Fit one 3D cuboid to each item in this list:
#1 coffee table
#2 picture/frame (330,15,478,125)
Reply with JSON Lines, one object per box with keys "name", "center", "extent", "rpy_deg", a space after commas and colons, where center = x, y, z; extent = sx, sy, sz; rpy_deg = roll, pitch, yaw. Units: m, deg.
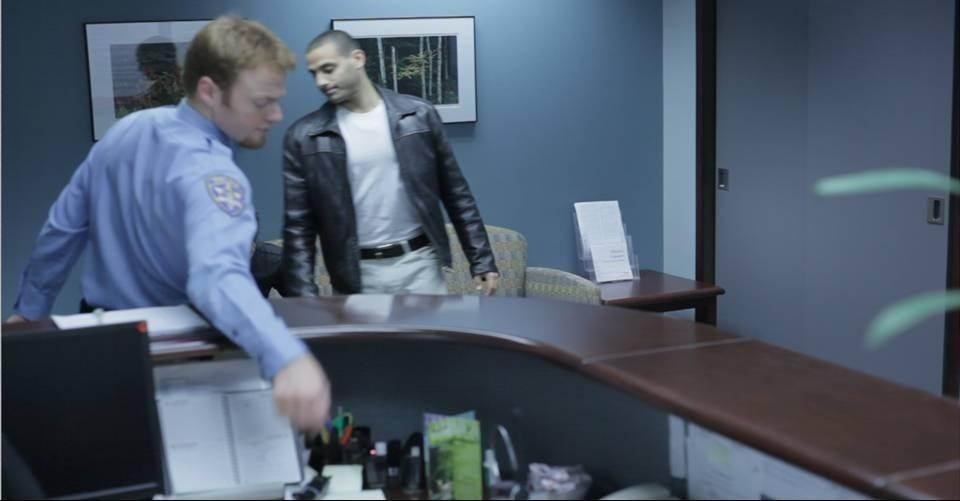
{"name": "coffee table", "center": [1.217, 0.300, 4.622], "extent": [0.531, 0.450, 0.504], "rpy_deg": [-3, 6, -28]}
{"name": "picture/frame", "center": [-0.500, -1.165, 4.266], "extent": [1.067, 0.732, 0.035], "rpy_deg": [-1, 2, -10]}
